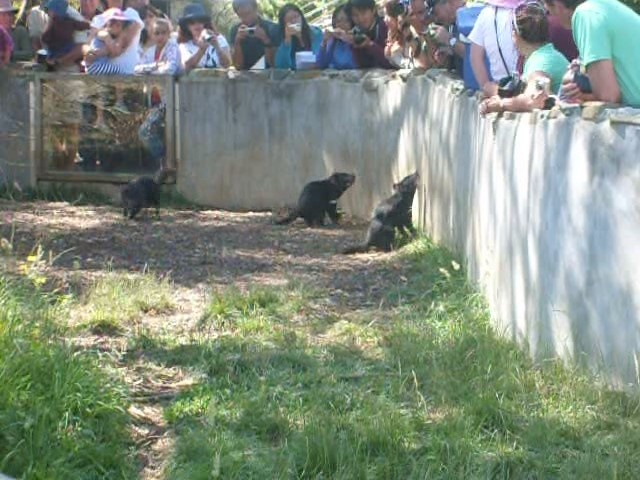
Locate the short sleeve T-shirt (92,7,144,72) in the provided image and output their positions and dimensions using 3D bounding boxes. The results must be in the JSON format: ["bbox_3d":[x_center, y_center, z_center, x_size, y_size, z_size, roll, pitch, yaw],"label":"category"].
[{"bbox_3d":[-2.964,-3.068,14.051,0.701,1.130,1.185,2,4,10],"label":"short sleeve T-shirt"}]

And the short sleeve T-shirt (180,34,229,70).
[{"bbox_3d":[-1.768,-2.922,14.635,0.369,0.519,0.816,-5,10,-8],"label":"short sleeve T-shirt"}]

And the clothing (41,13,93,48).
[{"bbox_3d":[-3.921,-3.188,14.312,0.665,0.507,1.033,-3,14,-10],"label":"clothing"}]

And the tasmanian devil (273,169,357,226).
[{"bbox_3d":[-0.024,-0.466,13.425,1.147,0.754,0.422,-15,-7,-7],"label":"tasmanian devil"}]

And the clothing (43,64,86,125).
[{"bbox_3d":[-3.903,-2.111,14.355,0.700,0.683,0.177,4,4,20],"label":"clothing"}]

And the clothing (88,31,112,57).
[{"bbox_3d":[-3.240,-2.904,13.912,0.538,0.231,0.218,-13,2,35],"label":"clothing"}]

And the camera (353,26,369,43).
[{"bbox_3d":[0.525,-2.745,12.625,0.149,0.192,0.264,4,5,31],"label":"camera"}]

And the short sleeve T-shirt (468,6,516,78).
[{"bbox_3d":[1.791,-2.020,9.639,0.601,0.879,0.300,11,27,44],"label":"short sleeve T-shirt"}]

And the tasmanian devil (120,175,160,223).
[{"bbox_3d":[-2.502,-0.583,13.103,0.558,0.579,0.356,0,4,-29],"label":"tasmanian devil"}]
